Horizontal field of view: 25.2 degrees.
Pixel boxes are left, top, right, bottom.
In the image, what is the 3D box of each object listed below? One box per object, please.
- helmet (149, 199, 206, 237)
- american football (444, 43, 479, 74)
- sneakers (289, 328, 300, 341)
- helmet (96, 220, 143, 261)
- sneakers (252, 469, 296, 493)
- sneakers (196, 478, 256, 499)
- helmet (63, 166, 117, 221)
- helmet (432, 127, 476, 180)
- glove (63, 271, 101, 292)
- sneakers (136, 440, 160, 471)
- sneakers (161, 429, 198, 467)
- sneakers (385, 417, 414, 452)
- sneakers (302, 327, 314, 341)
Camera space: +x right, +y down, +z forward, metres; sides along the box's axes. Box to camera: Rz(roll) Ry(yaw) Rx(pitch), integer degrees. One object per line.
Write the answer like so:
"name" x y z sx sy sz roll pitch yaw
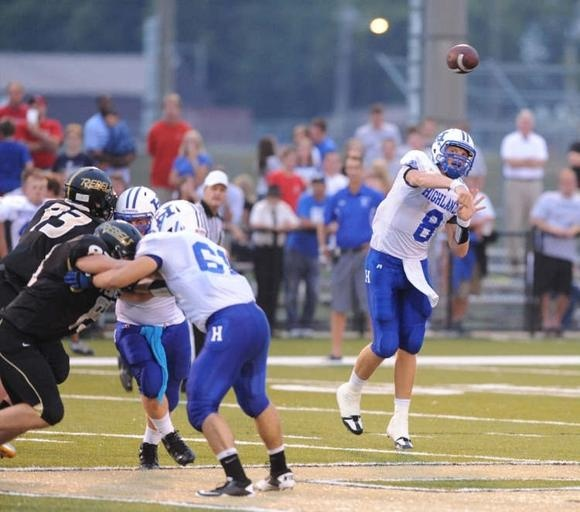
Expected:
"helmet" -0.876 -0.300 10.265 0.341 0.302 0.256 -6 4 1
"american football" 1.465 -1.694 11.200 0.264 0.258 0.250 0 19 17
"sneakers" 0.079 1.067 18.010 0.132 0.095 0.133 0 1 -4
"helmet" -1.237 -0.116 9.544 0.308 0.255 0.251 33 15 -26
"sneakers" -0.095 1.617 9.413 0.339 0.151 0.123 -8 -19 28
"sneakers" -0.429 1.644 9.180 0.429 0.162 0.144 2 -19 -1
"helmet" -1.505 -0.469 10.000 0.391 0.402 0.241 1 6 -11
"helmet" 1.367 -0.855 11.017 0.313 0.376 0.435 24 -1 -17
"glove" -1.495 0.171 9.380 0.229 0.143 0.064 5 7 25
"sneakers" -1.062 1.525 9.988 0.197 0.231 0.164 2 -34 -3
"sneakers" -0.843 1.490 10.146 0.380 0.137 0.167 45 -8 13
"sneakers" 0.888 1.447 10.601 0.118 0.164 0.349 0 10 -28
"sneakers" 0.248 1.074 18.008 0.128 0.100 0.143 4 5 0
